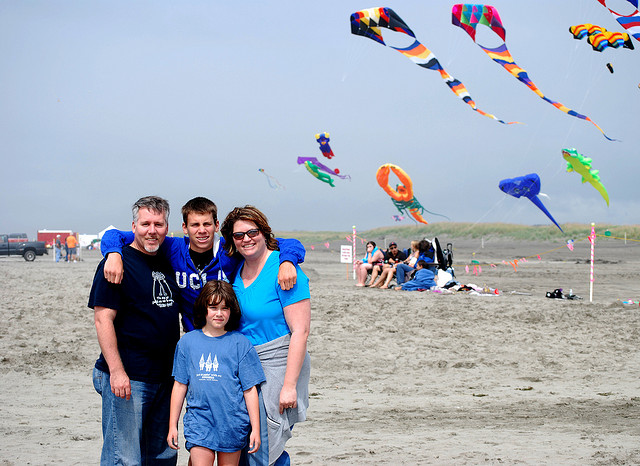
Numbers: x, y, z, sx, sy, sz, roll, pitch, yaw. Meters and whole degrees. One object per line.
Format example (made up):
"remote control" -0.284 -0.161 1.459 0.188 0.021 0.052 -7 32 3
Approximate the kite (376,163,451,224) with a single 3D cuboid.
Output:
"kite" 2.204 -0.876 20.178 1.910 0.444 2.455 8 -31 42

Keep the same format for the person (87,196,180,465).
"person" -1.845 1.039 7.755 0.829 2.758 0.441 -2 7 -19

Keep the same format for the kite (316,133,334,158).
"kite" 0.085 -2.183 19.524 0.337 0.601 0.869 0 8 0

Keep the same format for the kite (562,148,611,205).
"kite" 5.557 -1.303 16.354 0.450 0.841 1.140 -4 9 -28

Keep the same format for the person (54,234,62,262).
"person" -11.858 0.733 34.870 0.276 1.071 1.396 -2 8 -19

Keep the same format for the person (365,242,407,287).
"person" 1.634 0.937 19.706 0.837 1.444 0.605 11 -1 -31

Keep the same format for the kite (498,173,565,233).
"kite" 4.587 -0.895 17.375 0.721 0.820 1.407 -1 8 -7

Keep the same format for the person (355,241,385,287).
"person" 1.291 0.781 20.155 0.736 1.264 0.512 0 11 -20
